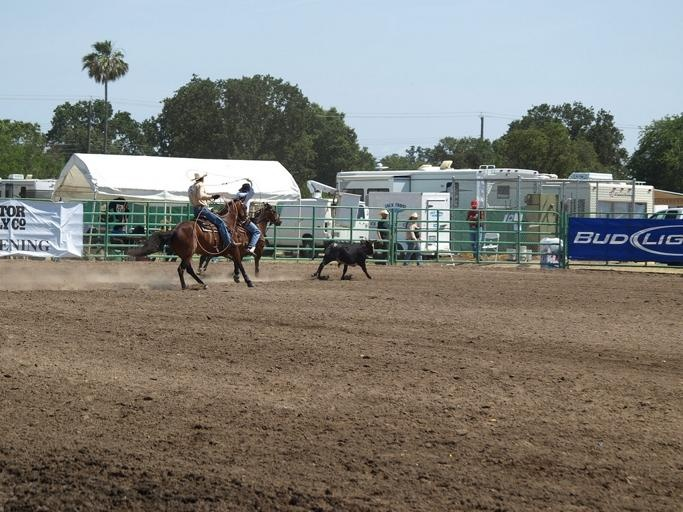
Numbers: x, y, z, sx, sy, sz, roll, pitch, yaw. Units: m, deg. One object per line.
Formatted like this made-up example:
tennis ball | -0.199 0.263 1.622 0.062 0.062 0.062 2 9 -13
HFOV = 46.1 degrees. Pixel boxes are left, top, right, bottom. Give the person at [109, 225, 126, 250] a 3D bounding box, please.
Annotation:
person | -6.671 -0.527 23.933 0.445 0.720 0.795 0 12 -16

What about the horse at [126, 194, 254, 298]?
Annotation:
horse | -3.087 -0.168 16.779 3.098 1.931 0.744 -8 2 -44

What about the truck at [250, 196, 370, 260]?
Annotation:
truck | -1.226 -0.935 27.185 3.641 2.007 1.974 5 5 44

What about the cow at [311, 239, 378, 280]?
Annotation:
cow | 0.102 0.130 19.527 1.179 0.983 1.331 6 12 13

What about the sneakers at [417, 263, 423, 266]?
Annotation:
sneakers | 2.421 0.280 25.064 0.135 0.074 0.100 -3 -7 -2

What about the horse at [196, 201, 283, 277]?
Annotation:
horse | -2.380 -0.260 18.259 0.551 1.701 2.453 18 22 39

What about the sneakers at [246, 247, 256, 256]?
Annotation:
sneakers | -2.049 -0.112 18.061 0.142 0.182 0.425 -2 7 1

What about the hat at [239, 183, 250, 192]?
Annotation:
hat | -2.178 -1.525 17.694 0.246 0.155 0.178 18 10 27
